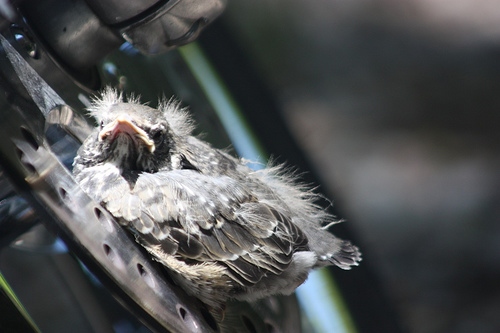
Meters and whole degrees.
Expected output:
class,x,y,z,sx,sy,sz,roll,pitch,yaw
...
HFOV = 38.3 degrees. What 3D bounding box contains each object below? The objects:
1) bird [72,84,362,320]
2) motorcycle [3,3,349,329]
class,x,y,z,sx,sy,sz,roll,pitch,yaw
bird,-0.099,0.098,1.841,0.735,0.525,0.433,9,11,-12
motorcycle,-0.261,-0.023,1.626,0.576,0.761,0.339,2,-12,-2
